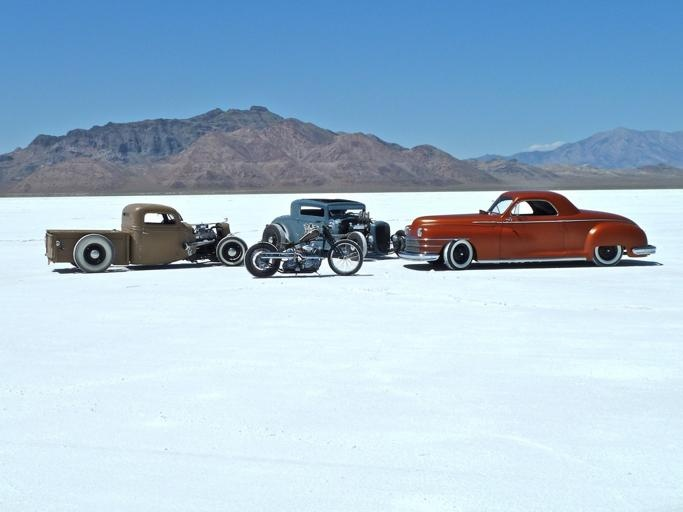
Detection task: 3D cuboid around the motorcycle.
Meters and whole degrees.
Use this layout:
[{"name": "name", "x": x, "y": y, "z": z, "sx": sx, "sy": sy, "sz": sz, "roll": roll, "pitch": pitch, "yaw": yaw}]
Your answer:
[{"name": "motorcycle", "x": -0.954, "y": -0.129, "z": 18.915, "sx": 3.034, "sy": 1.340, "sz": 1.161, "roll": -1, "pitch": 1, "yaw": -8}]

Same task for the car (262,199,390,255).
[{"name": "car", "x": -0.300, "y": -0.934, "z": 21.609, "sx": 2.995, "sy": 1.241, "sz": 1.713, "roll": -2, "pitch": 7, "yaw": -7}]
